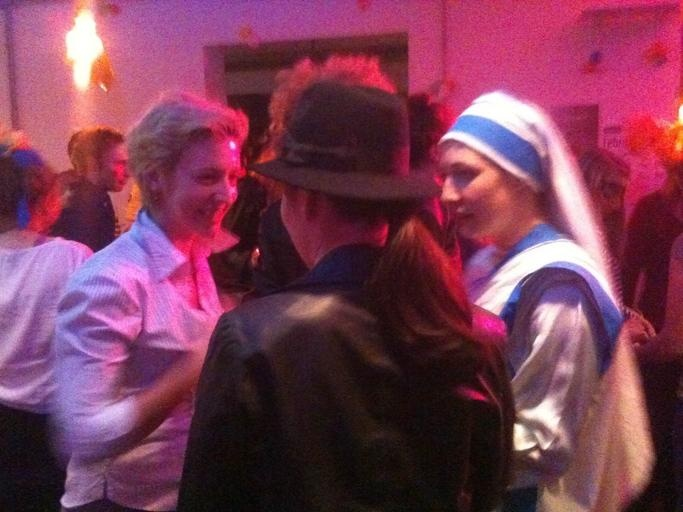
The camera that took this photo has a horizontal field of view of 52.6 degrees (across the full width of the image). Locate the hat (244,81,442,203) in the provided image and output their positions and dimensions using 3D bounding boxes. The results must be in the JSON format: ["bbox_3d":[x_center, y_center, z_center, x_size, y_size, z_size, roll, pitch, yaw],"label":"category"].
[{"bbox_3d":[0.025,-0.291,1.848,0.380,0.199,0.380,2,7,-24],"label":"hat"}]
